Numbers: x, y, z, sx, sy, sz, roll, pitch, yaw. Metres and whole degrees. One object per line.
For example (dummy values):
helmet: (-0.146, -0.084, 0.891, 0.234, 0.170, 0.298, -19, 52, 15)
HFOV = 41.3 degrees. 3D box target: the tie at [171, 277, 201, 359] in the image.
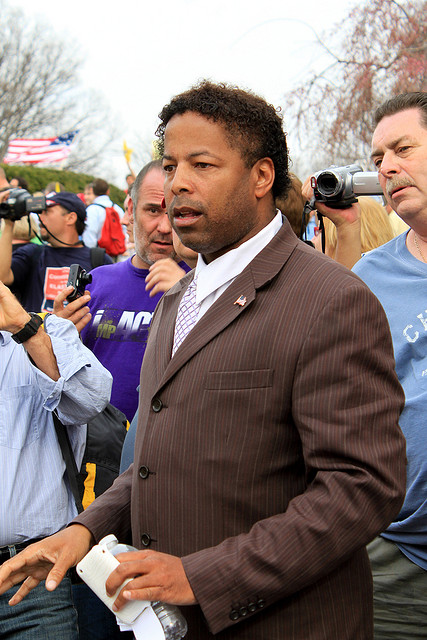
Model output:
tie: (-0.078, -0.008, 1.514, 0.018, 0.262, 0.048, 40, -49, -24)

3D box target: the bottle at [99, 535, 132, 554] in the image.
bottle: (-0.223, 0.498, 1.254, 0.041, 0.054, 0.020, -29, 18, 5)

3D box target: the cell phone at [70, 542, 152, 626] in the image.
cell phone: (-0.227, 0.536, 1.175, 0.212, 0.043, 0.108, 39, 53, 12)

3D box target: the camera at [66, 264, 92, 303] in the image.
camera: (-0.623, -0.166, 2.613, 0.098, 0.150, 0.093, 2, -14, 20)
